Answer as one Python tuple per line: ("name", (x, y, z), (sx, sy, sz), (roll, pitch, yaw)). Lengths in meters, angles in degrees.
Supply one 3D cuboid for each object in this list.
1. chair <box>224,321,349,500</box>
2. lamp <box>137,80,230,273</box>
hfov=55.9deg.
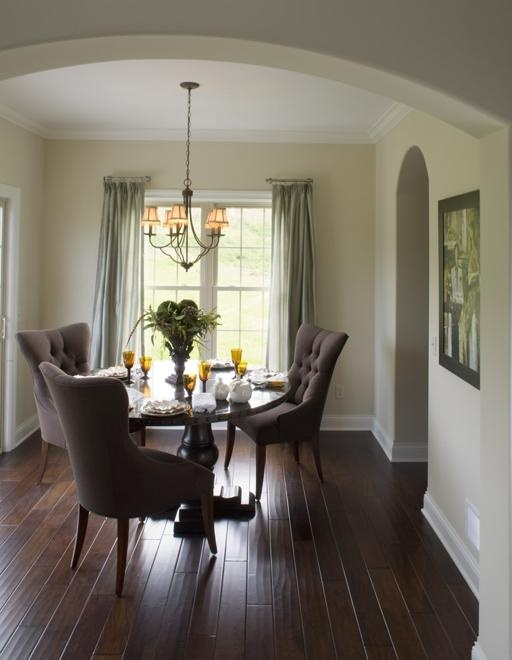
("chair", (0.211, 0.502, 3.360), (0.599, 1.155, 0.596), (4, 6, -27))
("lamp", (-0.537, -1.088, 3.834), (0.697, 1.252, 1.669), (0, 4, -13))
